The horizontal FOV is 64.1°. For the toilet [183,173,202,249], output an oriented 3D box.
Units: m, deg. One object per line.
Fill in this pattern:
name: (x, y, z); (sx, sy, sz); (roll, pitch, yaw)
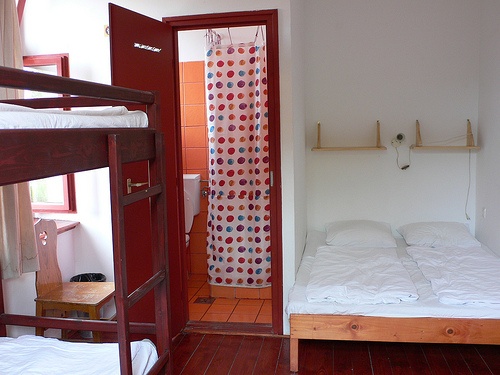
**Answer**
toilet: (-0.681, 0.292, 4.632); (0.195, 0.835, 0.411); (-1, 14, 4)
